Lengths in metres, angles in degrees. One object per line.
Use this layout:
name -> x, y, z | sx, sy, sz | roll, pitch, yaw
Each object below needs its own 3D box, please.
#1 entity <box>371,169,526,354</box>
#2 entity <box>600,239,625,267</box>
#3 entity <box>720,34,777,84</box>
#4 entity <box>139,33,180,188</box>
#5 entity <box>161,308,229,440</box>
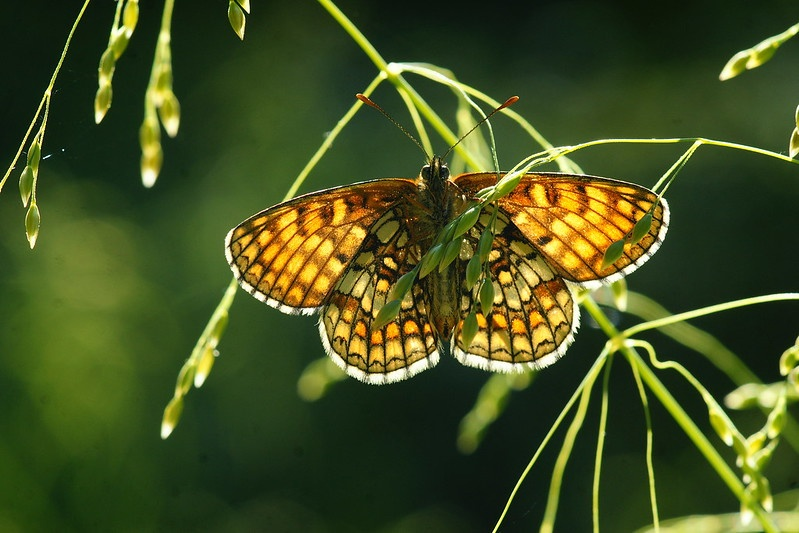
entity -> 0.193, -0.021, 2.781 | 0.463, 0.230, 0.574 | -11, -1, 1
entity -> 0.723, -0.049, 2.849 | 0.063, 0.097, 0.055 | 8, 18, -5
entity -> 1.199, -0.685, 2.891 | 0.126, 0.193, 0.048 | 43, 4, 29
entity -> -0.819, -0.525, 2.860 | 0.115, 0.526, 0.205 | 4, 18, -16
entity -> -0.755, 0.380, 3.071 | 0.196, 0.478, 0.278 | 4, 18, -14
